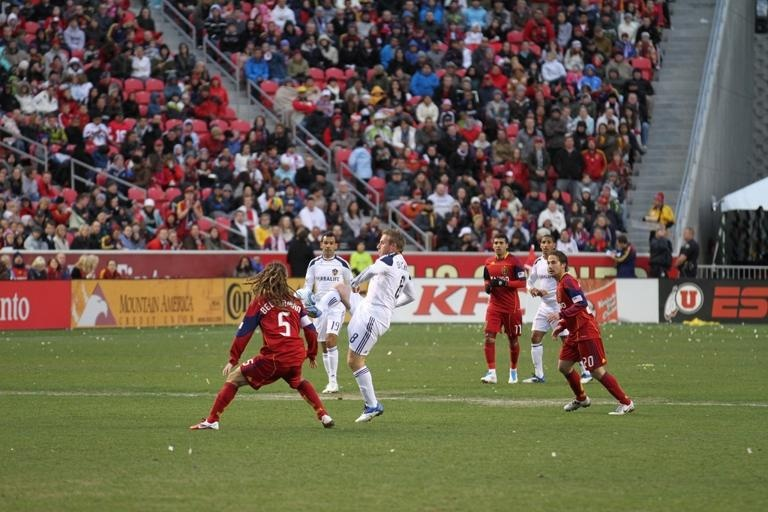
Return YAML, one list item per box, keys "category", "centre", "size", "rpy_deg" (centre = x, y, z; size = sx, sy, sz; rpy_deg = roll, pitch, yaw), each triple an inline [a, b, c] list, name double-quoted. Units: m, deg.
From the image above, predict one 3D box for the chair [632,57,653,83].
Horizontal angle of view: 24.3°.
- category: "chair"
  centre: [9.527, -6.820, 64.750]
  size: [0.804, 1.083, 0.972]
  rpy_deg: [-1, 0, 6]
